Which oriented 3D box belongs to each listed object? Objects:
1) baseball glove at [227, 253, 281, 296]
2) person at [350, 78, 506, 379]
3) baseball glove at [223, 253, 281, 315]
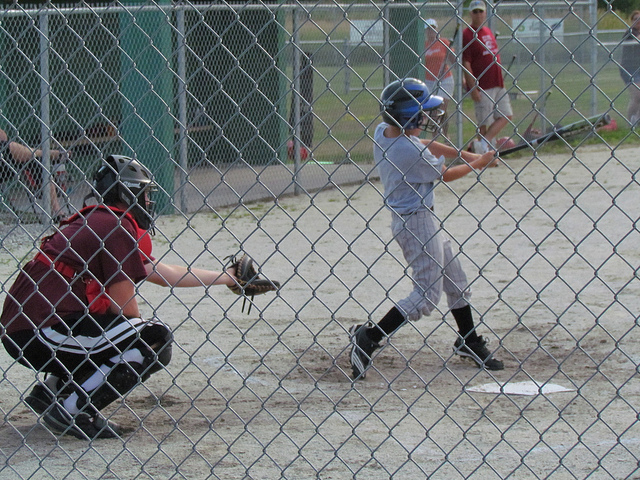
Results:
[{"bbox_3d":[-0.547,0.319,10.744,0.415,0.334,0.462,3,12,-16],"label":"baseball glove"},{"bbox_3d":[0.873,-0.178,11.289,1.468,2.459,0.936,1,2,30],"label":"person"},{"bbox_3d":[-0.574,0.313,10.917,0.446,0.464,0.467,3,12,-20],"label":"baseball glove"}]
